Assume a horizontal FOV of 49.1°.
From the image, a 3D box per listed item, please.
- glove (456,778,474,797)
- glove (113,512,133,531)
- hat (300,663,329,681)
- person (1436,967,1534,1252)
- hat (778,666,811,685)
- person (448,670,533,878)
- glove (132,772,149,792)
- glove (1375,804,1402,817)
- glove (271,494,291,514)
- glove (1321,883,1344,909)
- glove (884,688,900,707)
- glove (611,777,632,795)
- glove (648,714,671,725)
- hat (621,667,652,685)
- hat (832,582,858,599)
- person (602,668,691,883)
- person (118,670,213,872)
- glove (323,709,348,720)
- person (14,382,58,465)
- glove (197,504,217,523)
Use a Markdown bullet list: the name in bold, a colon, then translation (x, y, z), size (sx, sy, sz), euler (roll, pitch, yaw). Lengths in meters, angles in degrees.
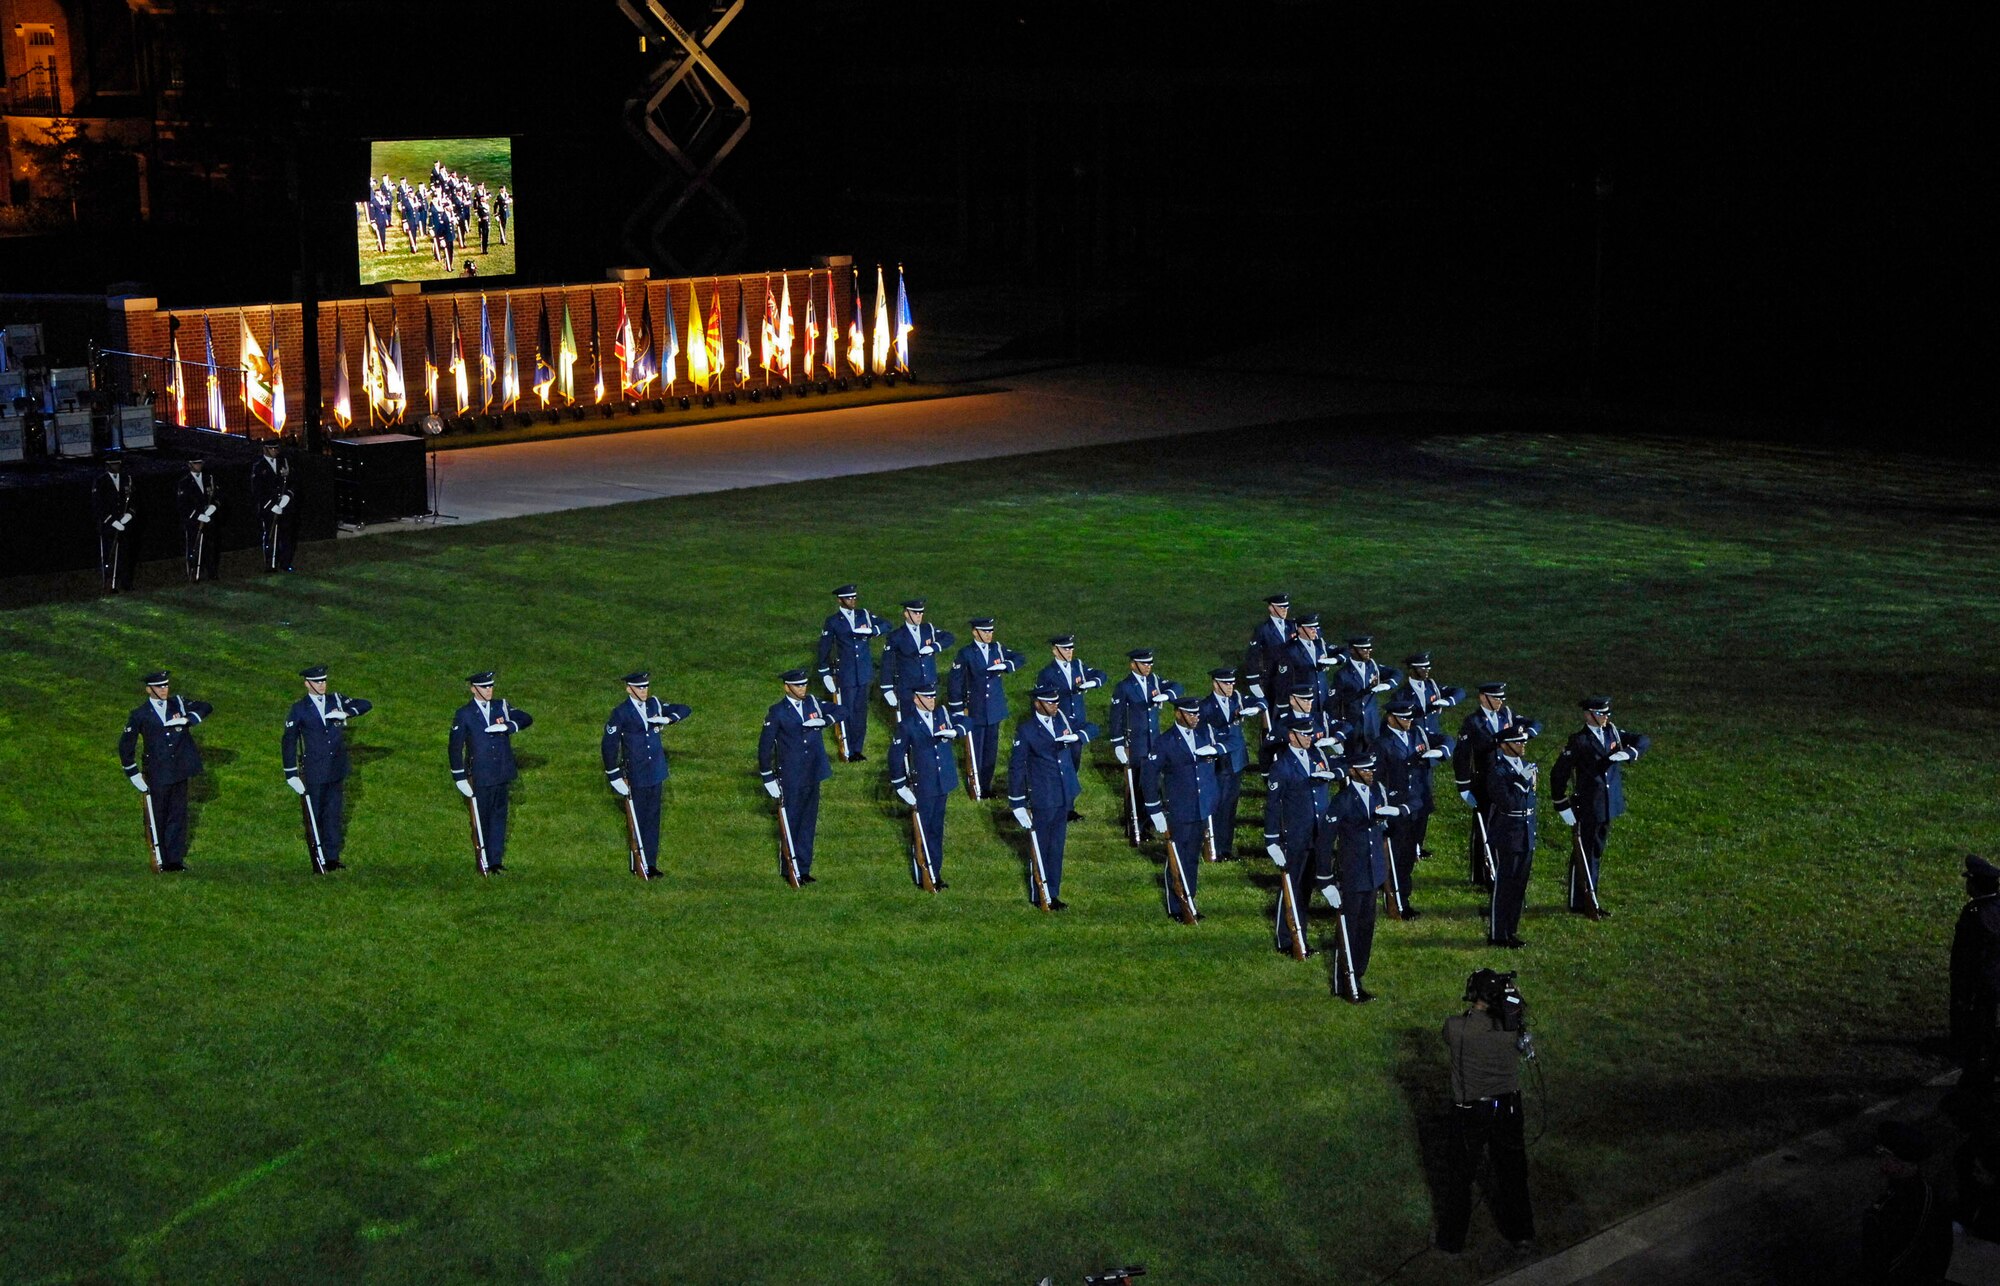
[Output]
- **glove**: translation (-6.524, 1.755, 26.613), size (0.278, 0.228, 0.160), euler (4, 7, 43)
- **glove**: translation (-14.888, -2.059, 37.260), size (0.336, 0.211, 0.102), euler (-47, 2, -30)
- **hat**: translation (-8.865, 0.377, 28.343), size (0.389, 0.116, 0.292), euler (-1, 3, -4)
- **person**: translation (4.680, 4.377, 20.830), size (0.872, 2.651, 0.921), euler (1, 6, 15)
- **hat**: translation (-2.555, 0.407, 26.369), size (0.408, 0.129, 0.309), euler (0, 5, 21)
- **person**: translation (-6.273, 1.586, 26.820), size (0.870, 2.491, 0.669), euler (-3, 6, -24)
- **glove**: translation (-10.379, 1.680, 26.456), size (0.183, 0.200, 0.090), euler (4, 17, 12)
- **glove**: translation (4.342, 1.853, 24.311), size (0.173, 0.185, 0.580), euler (2, 5, 20)
- **glove**: translation (-12.585, -2.445, 38.430), size (0.384, 0.342, 0.106), euler (-3, 6, -26)
- **glove**: translation (3.644, 2.763, 24.082), size (0.114, 0.195, 0.260), euler (-10, 37, -2)
- **glove**: translation (-1.443, 0.728, 30.214), size (0.076, 0.242, 0.284), euler (-32, -5, 31)
- **glove**: translation (-4.611, 1.739, 26.668), size (0.257, 0.132, 0.293), euler (3, -4, -5)
- **glove**: translation (-4.124, 0.919, 26.578), size (0.095, 0.154, 0.276), euler (3, 6, 32)
- **hat**: translation (-4.508, 0.423, 26.753), size (0.384, 0.125, 0.327), euler (-3, 2, 39)
- **hat**: translation (-2.204, -0.713, 30.694), size (0.363, 0.154, 0.419), euler (-5, 6, -40)
- **person**: translation (-4.413, 1.571, 27.166), size (0.880, 2.502, 1.352), euler (-1, 6, -8)
- **person**: translation (-10.171, 1.571, 26.654), size (0.966, 2.425, 0.484), euler (-4, 7, -34)
- **glove**: translation (-8.065, 0.880, 26.565), size (0.166, 0.048, 0.155), euler (-10, -14, 12)
- **person**: translation (-18.085, -4.110, 41.100), size (1.310, 1.525, 0.427), euler (-1, 3, -43)
- **glove**: translation (-13.622, -2.225, 37.681), size (0.247, 0.343, 0.100), euler (38, -11, -8)
